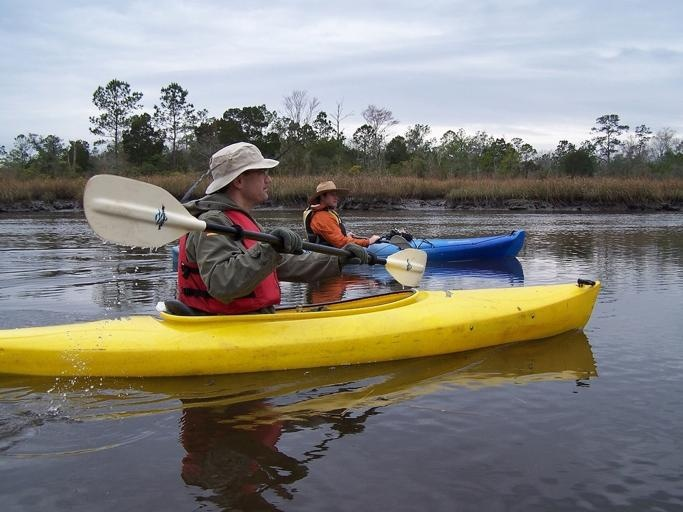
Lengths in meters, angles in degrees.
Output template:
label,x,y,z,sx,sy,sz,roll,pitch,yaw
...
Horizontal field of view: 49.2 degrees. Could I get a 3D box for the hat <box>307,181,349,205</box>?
label,x,y,z,sx,sy,sz,roll,pitch,yaw
hat,-0.137,-0.754,8.251,0.474,0.135,0.455,-6,-5,12

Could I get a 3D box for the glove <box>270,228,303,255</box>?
label,x,y,z,sx,sy,sz,roll,pitch,yaw
glove,-0.326,-0.090,4.575,0.176,0.155,0.265,-1,2,1

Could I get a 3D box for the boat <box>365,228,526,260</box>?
label,x,y,z,sx,sy,sz,roll,pitch,yaw
boat,1.597,-0.103,9.900,2.517,0.267,0.628,-2,5,-6

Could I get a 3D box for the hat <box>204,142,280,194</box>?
label,x,y,z,sx,sy,sz,roll,pitch,yaw
hat,-0.680,-0.566,4.786,0.525,0.171,0.339,-16,5,-11
